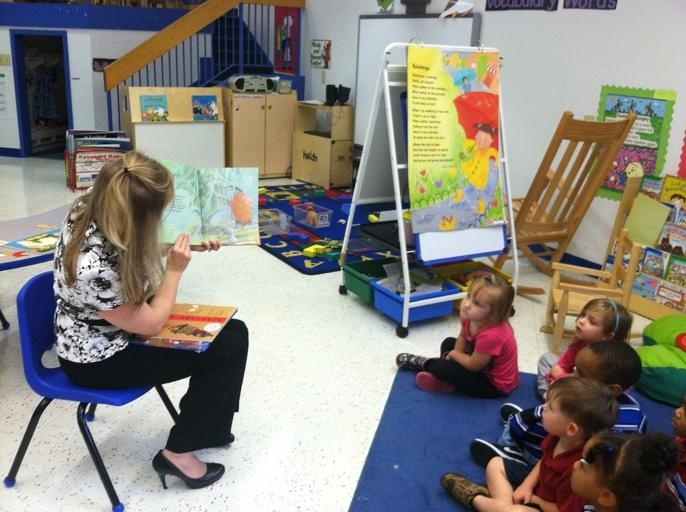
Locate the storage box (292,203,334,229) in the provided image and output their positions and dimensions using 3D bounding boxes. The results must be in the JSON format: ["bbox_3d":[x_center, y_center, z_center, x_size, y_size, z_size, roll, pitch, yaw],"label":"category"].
[{"bbox_3d":[-0.353,-0.455,5.222,0.238,0.154,0.375,-12,23,-32],"label":"storage box"}]

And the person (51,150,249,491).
[{"bbox_3d":[-0.781,0.308,2.055,0.660,1.277,0.495,-3,8,-20],"label":"person"}]

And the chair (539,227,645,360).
[{"bbox_3d":[1.665,0.254,3.299,0.631,0.868,0.517,7,24,6],"label":"chair"}]

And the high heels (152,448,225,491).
[{"bbox_3d":[-0.680,0.911,2.190,0.303,0.173,0.153,-3,17,-22],"label":"high heels"}]

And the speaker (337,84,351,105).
[{"bbox_3d":[0.012,-2.158,6.649,0.167,0.243,0.264,1,19,2],"label":"speaker"}]

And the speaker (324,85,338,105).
[{"bbox_3d":[-0.156,-2.122,6.564,0.154,0.257,0.258,3,19,7],"label":"speaker"}]

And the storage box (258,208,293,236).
[{"bbox_3d":[-0.717,-0.337,5.048,0.234,0.105,0.313,-7,25,-18],"label":"storage box"}]

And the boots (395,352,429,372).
[{"bbox_3d":[0.403,0.630,2.920,0.202,0.077,0.088,5,8,22],"label":"boots"}]

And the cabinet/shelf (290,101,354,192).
[{"bbox_3d":[-0.255,-1.449,6.608,0.495,1.483,1.213,-4,16,-38],"label":"cabinet/shelf"}]

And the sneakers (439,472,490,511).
[{"bbox_3d":[0.517,0.991,2.110,0.179,0.071,0.109,25,61,40],"label":"sneakers"}]

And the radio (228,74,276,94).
[{"bbox_3d":[-1.161,-2.252,6.509,0.661,0.208,0.288,-4,20,-13],"label":"radio"}]

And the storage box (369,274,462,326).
[{"bbox_3d":[0.520,0.317,3.391,0.420,0.140,0.366,-12,25,-27],"label":"storage box"}]
